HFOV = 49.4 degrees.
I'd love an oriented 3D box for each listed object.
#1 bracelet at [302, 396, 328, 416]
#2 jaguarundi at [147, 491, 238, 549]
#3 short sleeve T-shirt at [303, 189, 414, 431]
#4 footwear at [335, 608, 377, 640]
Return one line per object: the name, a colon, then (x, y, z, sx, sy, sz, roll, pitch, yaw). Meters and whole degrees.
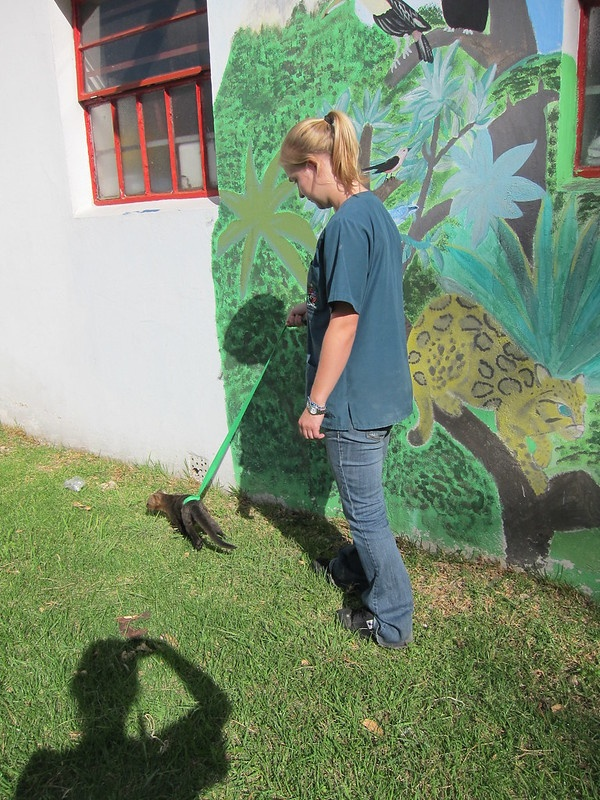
bracelet: (0.062, 0.021, 2.298, 0.038, 0.059, 0.064, -14, 35, -5)
jaguarundi: (-0.534, 0.594, 3.254, 0.574, 0.235, 0.158, 10, 24, 33)
short sleeve T-shirt: (0.197, -0.293, 2.312, 0.396, 0.846, 0.381, -5, 13, 1)
footwear: (0.231, 0.874, 2.574, 0.068, 0.076, 0.184, -15, 24, -40)
